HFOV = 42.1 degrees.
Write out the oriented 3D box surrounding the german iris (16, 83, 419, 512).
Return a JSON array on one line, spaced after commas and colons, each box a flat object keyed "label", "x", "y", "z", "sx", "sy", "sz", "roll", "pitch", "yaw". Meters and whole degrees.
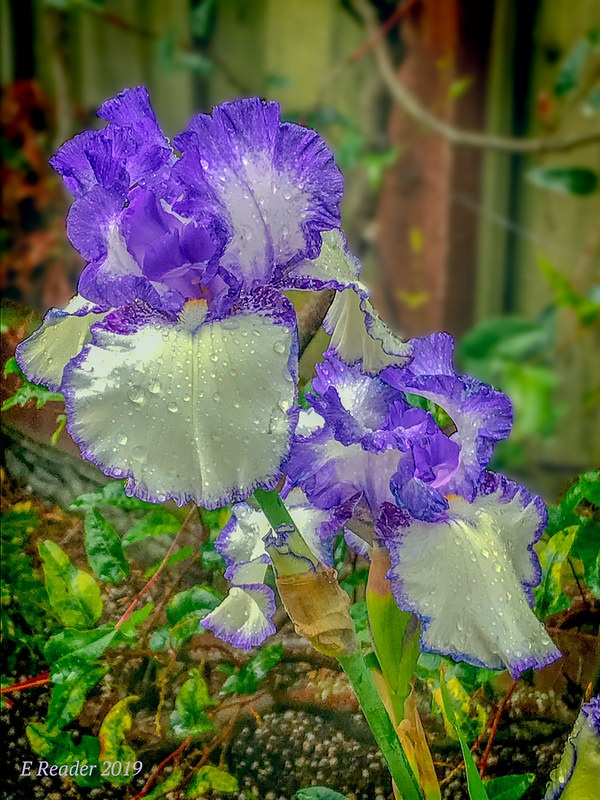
[{"label": "german iris", "x": -0.046, "y": -0.064, "z": 0.400, "sx": 0.176, "sy": 0.187, "sz": 0.173, "roll": -12, "pitch": 22, "yaw": -27}]
